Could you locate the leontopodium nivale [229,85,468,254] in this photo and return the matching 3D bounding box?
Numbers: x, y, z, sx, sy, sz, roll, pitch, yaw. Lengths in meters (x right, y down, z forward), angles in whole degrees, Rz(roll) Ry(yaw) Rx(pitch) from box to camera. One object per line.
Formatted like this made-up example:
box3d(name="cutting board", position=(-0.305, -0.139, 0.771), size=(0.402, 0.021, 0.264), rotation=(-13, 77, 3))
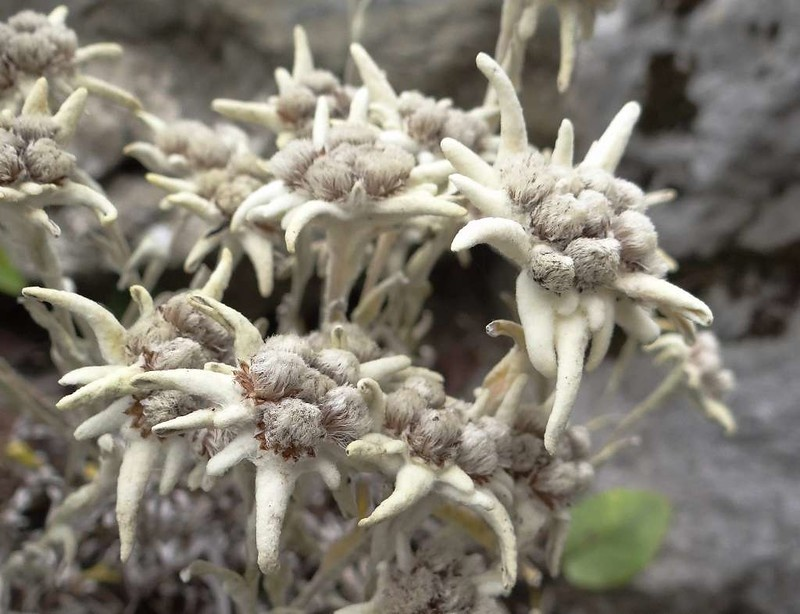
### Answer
box3d(name="leontopodium nivale", position=(-0.167, -0.371, 3.510), size=(0.513, 0.207, 0.446), rotation=(-27, 46, -8))
